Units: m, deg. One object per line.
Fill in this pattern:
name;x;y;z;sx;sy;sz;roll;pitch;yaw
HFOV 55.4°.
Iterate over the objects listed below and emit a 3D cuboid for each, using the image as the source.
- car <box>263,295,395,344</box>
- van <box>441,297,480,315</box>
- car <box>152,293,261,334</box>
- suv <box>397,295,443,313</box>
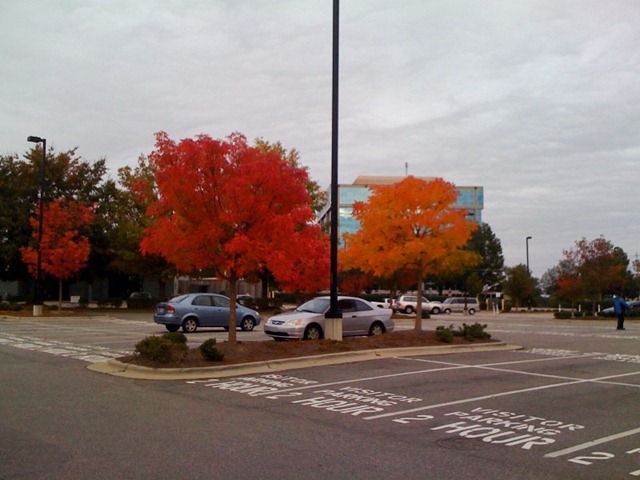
car;0.436;2.777;21.691;4.453;1.527;1.721;4;-4;-39
van;13.875;6.298;59.911;3.333;1.423;1.794;4;-8;-9
car;-4.957;3.457;26.732;4.479;1.657;2.029;0;-1;-31
suv;8.990;5.973;55.147;4.273;1.779;2.007;-3;2;-17
